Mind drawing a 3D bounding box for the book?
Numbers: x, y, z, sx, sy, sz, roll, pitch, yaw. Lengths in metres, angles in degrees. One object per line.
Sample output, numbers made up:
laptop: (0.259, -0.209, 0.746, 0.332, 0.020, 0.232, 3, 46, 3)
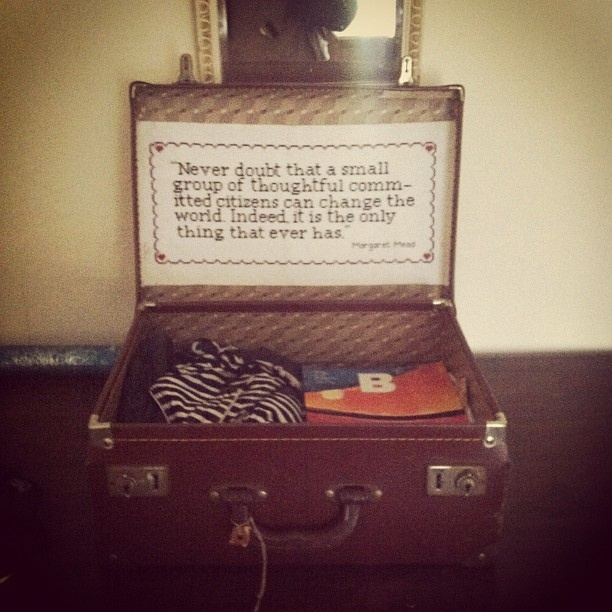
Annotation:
book: (0.205, 0.209, 1.900, 0.420, 0.064, 0.324, -1, 20, 3)
